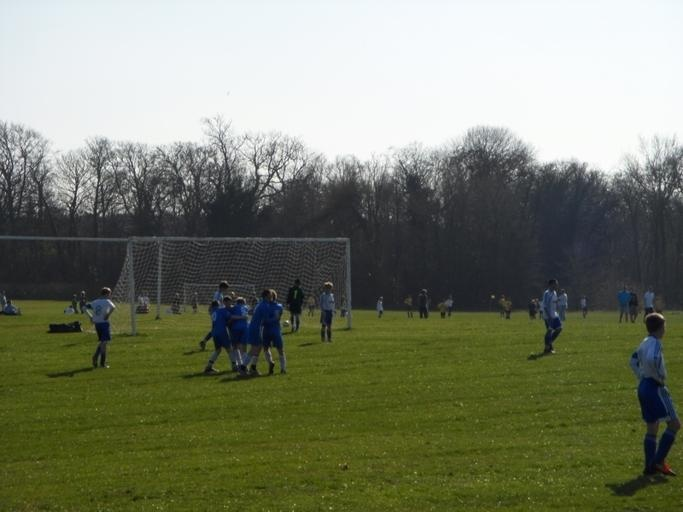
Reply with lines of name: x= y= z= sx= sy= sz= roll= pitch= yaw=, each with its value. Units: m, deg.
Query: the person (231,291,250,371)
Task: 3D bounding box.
person: x=-3.191 y=2.375 z=31.873 sx=0.610 sy=2.410 sz=0.690 roll=2 pitch=-16 yaw=-3

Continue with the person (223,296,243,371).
person: x=-3.397 y=2.401 z=31.954 sx=0.686 sy=2.483 sz=0.699 roll=8 pitch=-18 yaw=-36

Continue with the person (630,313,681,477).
person: x=7.770 y=3.391 z=25.449 sx=1.089 sy=3.975 sz=1.363 roll=0 pitch=-4 yaw=18

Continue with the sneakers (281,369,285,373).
sneakers: x=-1.798 y=3.528 z=31.407 sx=0.101 sy=0.120 sz=0.102 roll=-4 pitch=-9 yaw=34

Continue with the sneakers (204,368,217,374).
sneakers: x=-4.064 y=3.554 z=31.736 sx=0.395 sy=0.183 sz=0.151 roll=-1 pitch=3 yaw=0

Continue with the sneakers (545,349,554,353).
sneakers: x=6.731 y=3.081 z=33.380 sx=0.311 sy=0.133 sz=0.111 roll=-3 pitch=-2 yaw=12

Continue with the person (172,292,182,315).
person: x=-8.859 y=2.484 z=54.876 sx=0.499 sy=1.153 sz=1.888 roll=1 pitch=-4 yaw=-9

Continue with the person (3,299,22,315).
person: x=-18.255 y=2.811 z=56.832 sx=0.674 sy=1.385 sz=0.475 roll=-4 pitch=3 yaw=-17

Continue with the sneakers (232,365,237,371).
sneakers: x=-3.305 y=3.455 z=31.717 sx=0.171 sy=0.254 sz=0.149 roll=-1 pitch=-6 yaw=3

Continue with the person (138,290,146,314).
person: x=-10.509 y=2.576 z=54.145 sx=0.498 sy=0.879 sz=1.167 roll=2 pitch=-4 yaw=-12

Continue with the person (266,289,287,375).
person: x=-2.059 y=2.299 z=31.260 sx=0.625 sy=2.552 sz=1.160 roll=0 pitch=-4 yaw=13
